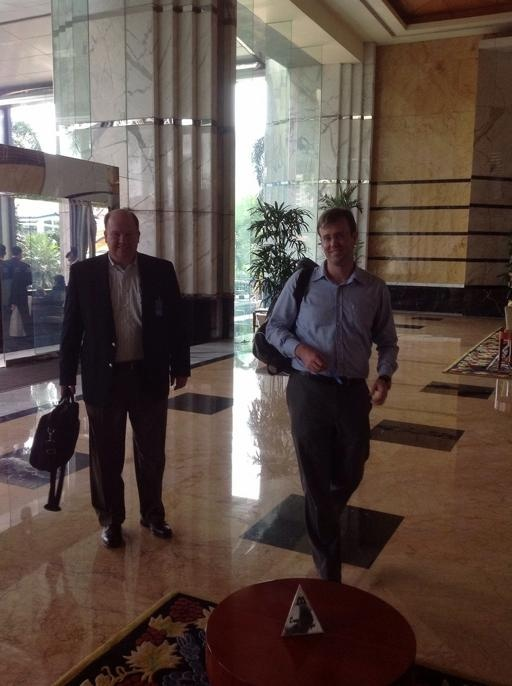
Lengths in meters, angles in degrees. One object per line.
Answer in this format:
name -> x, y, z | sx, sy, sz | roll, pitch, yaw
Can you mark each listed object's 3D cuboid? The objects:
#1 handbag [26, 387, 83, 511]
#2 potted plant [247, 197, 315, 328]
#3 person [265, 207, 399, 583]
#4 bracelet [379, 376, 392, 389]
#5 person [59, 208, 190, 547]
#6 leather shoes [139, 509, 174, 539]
handbag -> -0.970, 0.466, 2.543 | 0.205, 0.656, 0.180 | 9, 11, 4
potted plant -> 0.374, -1.225, 9.393 | 1.227, 2.500, 1.213 | 1, -1, 35
person -> 0.329, 0.166, 2.310 | 0.504, 1.449, 0.468 | -5, 8, -39
bracelet -> 0.535, 0.152, 2.195 | 0.049, 0.043, 0.052 | 17, -5, 12
person -> -0.642, 0.184, 2.639 | 0.624, 1.625, 0.314 | -2, 7, -24
leather shoes -> -0.518, 0.947, 2.811 | 0.196, 0.095, 0.076 | 7, 1, 38
